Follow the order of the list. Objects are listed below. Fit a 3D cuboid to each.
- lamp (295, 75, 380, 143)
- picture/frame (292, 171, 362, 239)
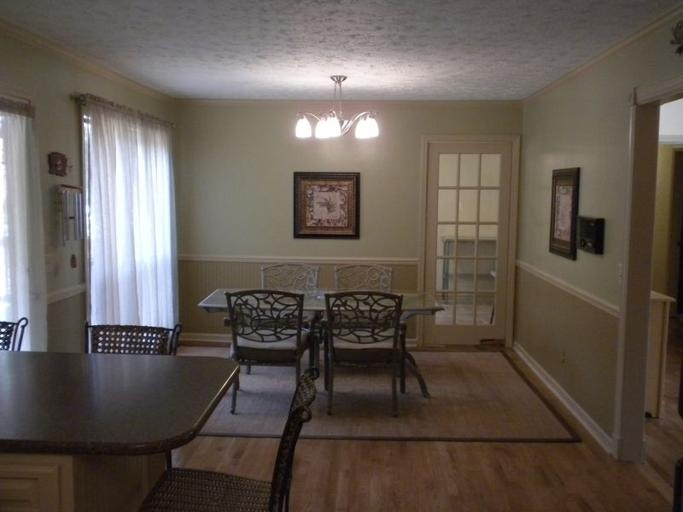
[{"bbox_3d":[-0.060,-1.180,4.594,0.723,0.522,0.719,-1,8,-4],"label":"lamp"},{"bbox_3d":[-0.152,-0.585,5.605,0.669,0.707,0.055,1,3,1],"label":"picture/frame"}]
